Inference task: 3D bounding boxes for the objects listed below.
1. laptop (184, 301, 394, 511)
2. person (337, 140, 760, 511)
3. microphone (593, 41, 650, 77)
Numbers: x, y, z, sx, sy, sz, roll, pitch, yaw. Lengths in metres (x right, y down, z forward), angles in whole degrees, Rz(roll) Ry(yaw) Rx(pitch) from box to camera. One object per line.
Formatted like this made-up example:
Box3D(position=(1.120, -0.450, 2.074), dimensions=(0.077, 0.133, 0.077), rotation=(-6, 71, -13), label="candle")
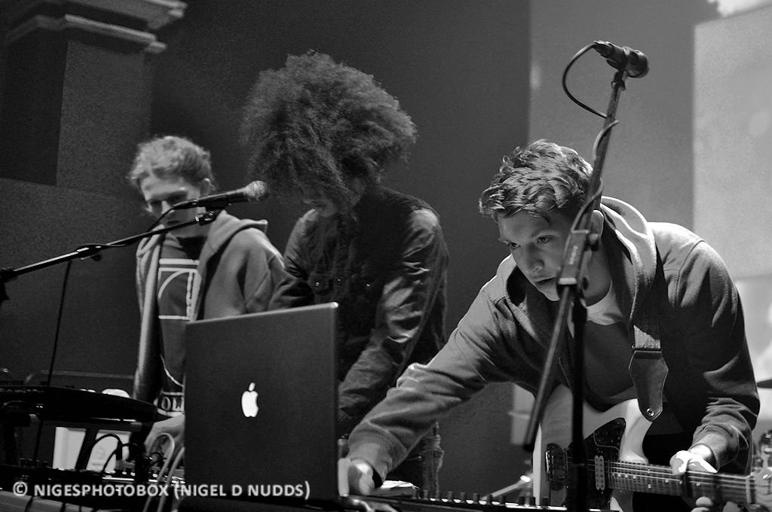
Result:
Box3D(position=(-0.368, 0.445, 3.062), dimensions=(0.504, 0.545, 0.369), rotation=(0, -20, 9), label="laptop")
Box3D(position=(0.555, 0.189, 3.968), dimensions=(1.243, 1.172, 1.572), rotation=(-9, 5, 44), label="person")
Box3D(position=(0.757, -0.641, 3.382), dimensions=(0.215, 0.083, 0.077), rotation=(15, -51, -34), label="microphone")
